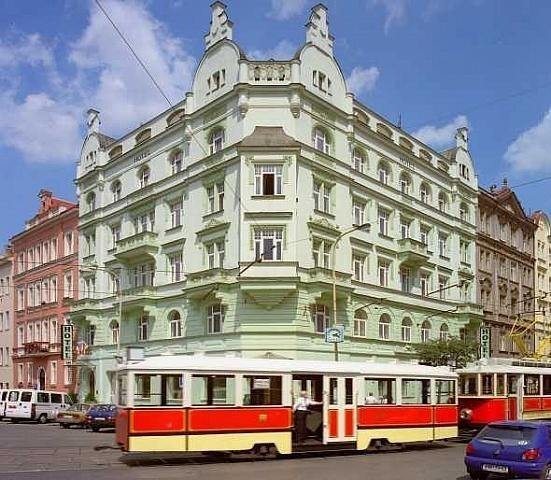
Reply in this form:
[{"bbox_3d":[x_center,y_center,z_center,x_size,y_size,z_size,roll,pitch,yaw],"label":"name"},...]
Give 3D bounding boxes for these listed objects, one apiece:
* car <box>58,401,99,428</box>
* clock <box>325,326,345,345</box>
[{"bbox_3d":[-11.408,9.902,52.411,1.279,0.836,2.276,0,-7,7],"label":"car"},{"bbox_3d":[2.868,4.907,47.580,0.916,0.977,0.247,5,-9,-26],"label":"clock"}]
